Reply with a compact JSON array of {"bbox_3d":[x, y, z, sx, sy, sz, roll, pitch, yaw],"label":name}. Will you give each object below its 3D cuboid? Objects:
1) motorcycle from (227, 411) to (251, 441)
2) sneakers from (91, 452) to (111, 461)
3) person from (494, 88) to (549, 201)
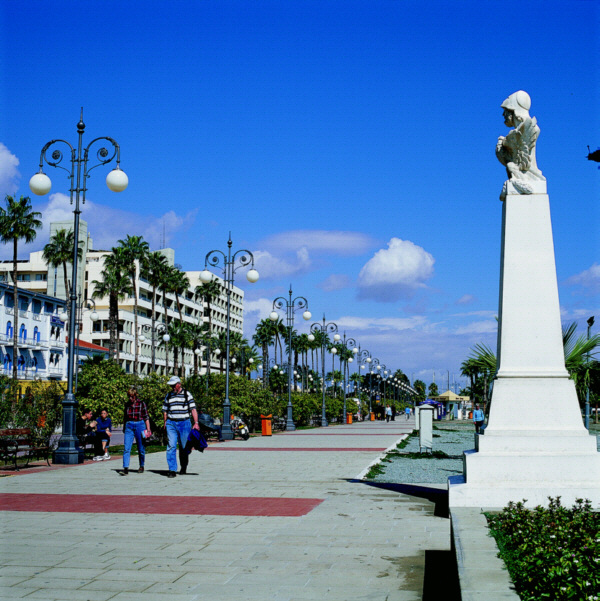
[{"bbox_3d":[-2.520,5.349,32.646,0.667,0.826,2.133,1,-3,-4],"label":"motorcycle"},{"bbox_3d":[-4.892,3.913,19.331,0.170,0.180,0.403,0,-20,2],"label":"sneakers"},{"bbox_3d":[2.936,-2.124,10.549,0.683,1.549,0.525,-6,-11,33],"label":"person"}]
